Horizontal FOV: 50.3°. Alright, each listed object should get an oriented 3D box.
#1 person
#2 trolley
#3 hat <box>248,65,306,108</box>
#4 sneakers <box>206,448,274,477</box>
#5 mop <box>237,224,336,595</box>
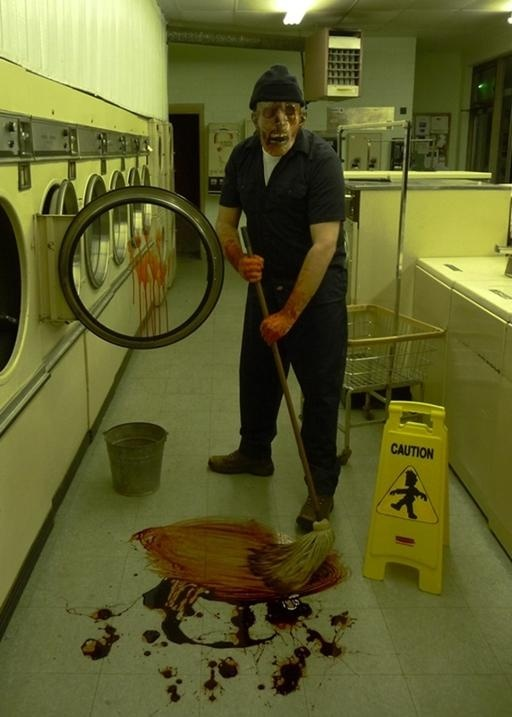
[{"bbox_3d":[0.124,-0.167,1.966,0.492,1.589,0.694,3,7,32],"label":"person"},{"bbox_3d":[0.511,-0.019,2.761,0.558,0.917,0.920,-4,22,-9],"label":"trolley"},{"bbox_3d":[0.066,-0.874,1.713,0.172,0.164,0.190,1,10,3],"label":"hat"},{"bbox_3d":[-0.066,0.448,2.282,0.241,0.113,0.142,2,10,9],"label":"sneakers"},{"bbox_3d":[0.105,0.110,1.717,0.317,1.028,0.521,1,9,-2],"label":"mop"}]
